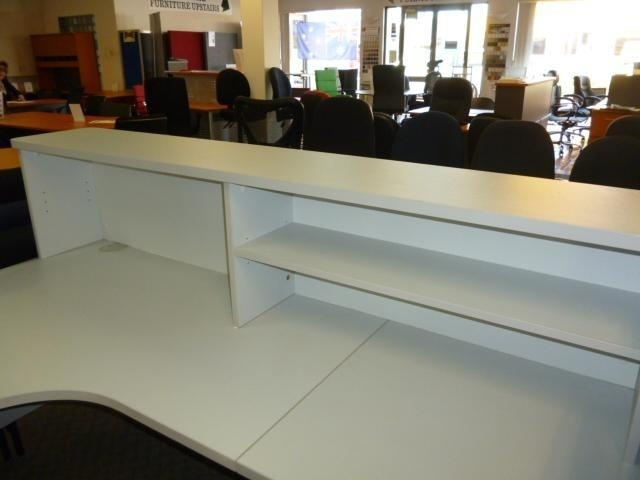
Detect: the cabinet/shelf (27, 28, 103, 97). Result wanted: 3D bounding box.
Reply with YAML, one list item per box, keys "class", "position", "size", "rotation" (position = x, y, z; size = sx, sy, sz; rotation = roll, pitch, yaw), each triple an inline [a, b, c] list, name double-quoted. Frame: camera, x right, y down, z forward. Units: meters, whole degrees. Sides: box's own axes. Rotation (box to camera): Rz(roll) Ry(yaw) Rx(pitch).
- class: "cabinet/shelf"
  position: [-5.042, -3.420, 9.344]
  size: [1.162, 1.216, 0.385]
  rotation: [7, 21, 22]
